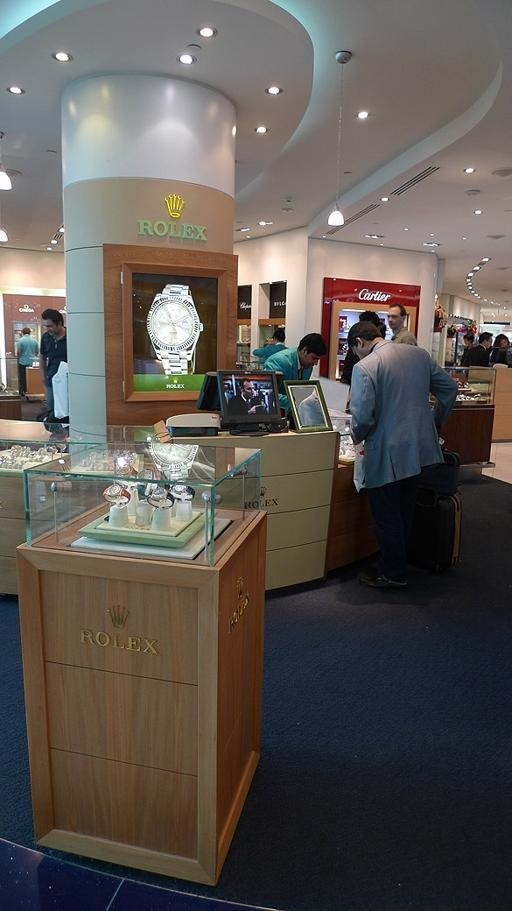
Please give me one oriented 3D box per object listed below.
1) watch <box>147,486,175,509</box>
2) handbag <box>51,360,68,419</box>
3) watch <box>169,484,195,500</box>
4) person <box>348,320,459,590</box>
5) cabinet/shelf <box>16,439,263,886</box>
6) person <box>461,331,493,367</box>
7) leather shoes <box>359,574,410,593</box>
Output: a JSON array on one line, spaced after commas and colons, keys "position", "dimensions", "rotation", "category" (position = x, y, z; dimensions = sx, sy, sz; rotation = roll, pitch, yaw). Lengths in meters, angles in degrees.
[{"position": [-0.233, 0.102, 1.466], "dimensions": [0.053, 0.058, 0.053], "rotation": [7, 12, 9], "category": "watch"}, {"position": [-1.787, -0.577, 5.462], "dimensions": [0.112, 0.528, 0.244], "rotation": [-2, 8, -24], "category": "handbag"}, {"position": [-0.176, 0.088, 1.437], "dimensions": [0.071, 0.044, 0.043], "rotation": [4, 8, 16], "category": "watch"}, {"position": [0.849, 0.007, 3.557], "dimensions": [0.636, 1.539, 0.508], "rotation": [1, 8, 2], "category": "person"}, {"position": [-0.300, 0.528, 1.708], "dimensions": [0.544, 1.052, 0.544], "rotation": [3, 8, 12], "category": "cabinet/shelf"}, {"position": [3.435, -1.652, 9.258], "dimensions": [0.333, 0.528, 0.737], "rotation": [4, 9, 18], "category": "person"}, {"position": [0.761, 0.724, 3.546], "dimensions": [0.268, 0.137, 0.104], "rotation": [5, 7, 28], "category": "leather shoes"}]
